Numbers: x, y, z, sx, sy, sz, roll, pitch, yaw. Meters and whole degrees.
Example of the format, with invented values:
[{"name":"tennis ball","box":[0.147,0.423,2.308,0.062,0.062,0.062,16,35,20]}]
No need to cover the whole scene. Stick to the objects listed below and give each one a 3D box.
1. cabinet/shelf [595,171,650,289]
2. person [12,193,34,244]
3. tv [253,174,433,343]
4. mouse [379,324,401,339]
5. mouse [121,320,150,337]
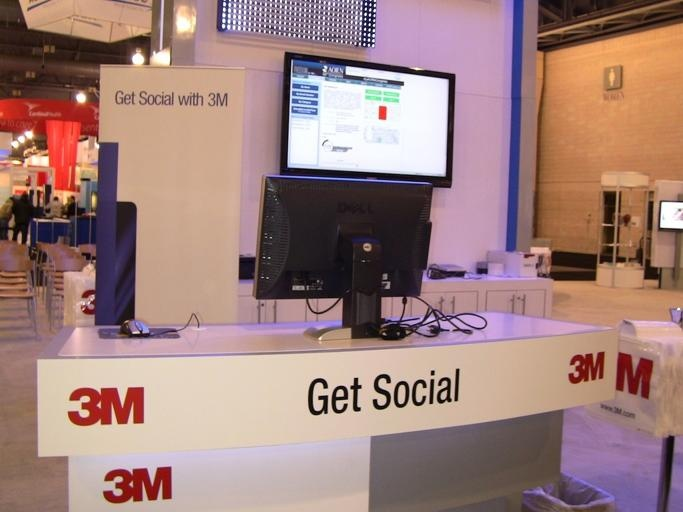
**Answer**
[{"name":"cabinet/shelf","box":[5.604,-0.468,12.343,0.896,2.225,0.897,4,0,-6]},{"name":"person","box":[-6.511,-0.778,12.702,0.375,1.057,0.865,-3,7,-29]},{"name":"tv","box":[0.024,0.000,2.642,0.758,0.673,0.226,-4,7,-28]},{"name":"mouse","box":[0.203,0.312,2.607,0.067,0.052,0.052,-3,6,-17]},{"name":"mouse","box":[-0.851,0.292,2.543,0.061,0.042,0.107,3,-2,-32]}]
